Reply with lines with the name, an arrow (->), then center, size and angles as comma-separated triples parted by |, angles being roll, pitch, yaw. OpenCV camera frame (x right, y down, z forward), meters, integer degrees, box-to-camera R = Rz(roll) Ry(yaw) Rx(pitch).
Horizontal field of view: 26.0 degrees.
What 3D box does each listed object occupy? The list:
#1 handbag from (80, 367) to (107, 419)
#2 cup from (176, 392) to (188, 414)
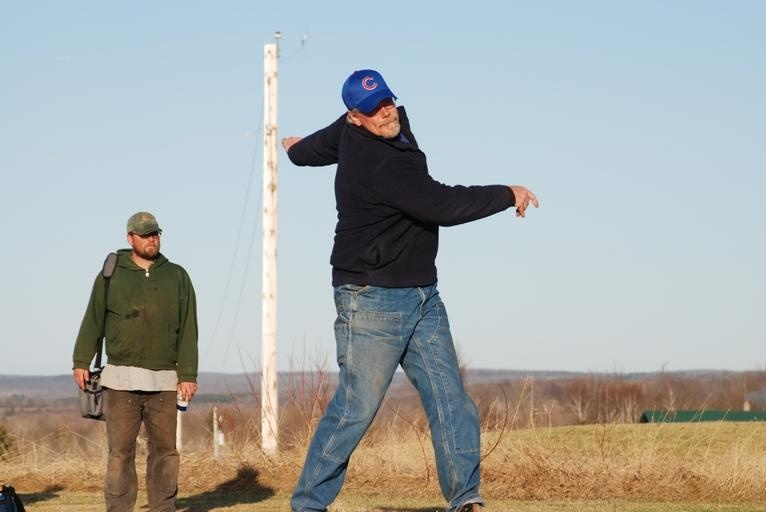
handbag -> -4.059, 1.754, 23.228 | 0.365, 0.787, 0.580 | -3, 22, -8
cup -> -2.776, 2.040, 23.241 | 0.195, 0.230, 0.194 | 0, -1, 0
